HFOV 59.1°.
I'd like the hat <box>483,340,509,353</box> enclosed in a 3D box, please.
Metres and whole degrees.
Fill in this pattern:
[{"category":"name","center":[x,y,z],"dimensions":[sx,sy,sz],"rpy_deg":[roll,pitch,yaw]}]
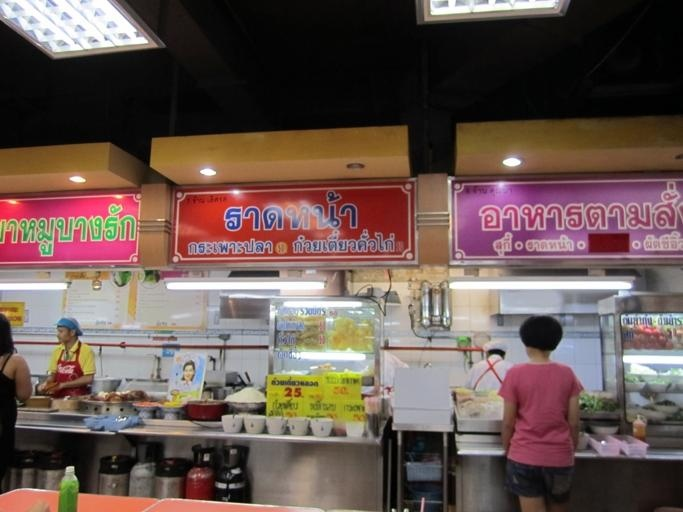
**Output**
[{"category":"hat","center":[1.874,1.096,7.391],"dimensions":[0.289,0.122,0.325],"rpy_deg":[1,-9,4]}]

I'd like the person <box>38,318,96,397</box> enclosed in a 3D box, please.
[{"category":"person","center":[-3.218,1.172,7.072],"dimensions":[0.579,0.882,0.747],"rpy_deg":[0,-7,-23]}]

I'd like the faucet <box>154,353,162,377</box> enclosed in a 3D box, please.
[{"category":"faucet","center":[-2.867,1.721,9.421],"dimensions":[0.093,0.343,0.107],"rpy_deg":[-1,-7,-12]}]

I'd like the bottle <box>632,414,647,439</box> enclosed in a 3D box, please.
[{"category":"bottle","center":[2.750,1.581,5.557],"dimensions":[0.125,0.217,0.173],"rpy_deg":[-6,-7,30]}]

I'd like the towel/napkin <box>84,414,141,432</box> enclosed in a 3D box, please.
[{"category":"towel/napkin","center":[-2.195,1.582,5.738],"dimensions":[0.492,0.123,0.327],"rpy_deg":[-3,-6,10]}]

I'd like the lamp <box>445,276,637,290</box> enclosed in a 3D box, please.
[{"category":"lamp","center":[2.054,0.281,6.224],"dimensions":[1.959,0.152,0.598],"rpy_deg":[-1,-6,-12]}]

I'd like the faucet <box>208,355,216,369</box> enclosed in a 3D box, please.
[{"category":"faucet","center":[-2.002,1.639,9.337],"dimensions":[0.131,0.216,0.085],"rpy_deg":[-1,-7,-14]}]

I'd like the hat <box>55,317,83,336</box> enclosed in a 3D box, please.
[{"category":"hat","center":[-3.276,0.856,7.258],"dimensions":[0.212,0.216,0.401],"rpy_deg":[-1,-6,-17]}]
